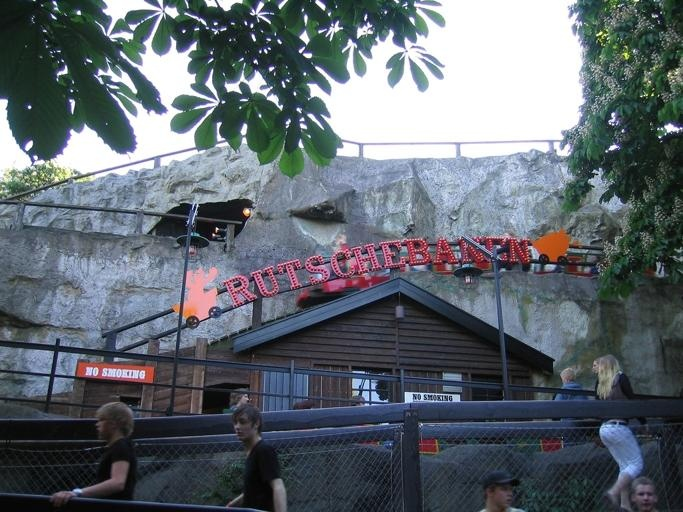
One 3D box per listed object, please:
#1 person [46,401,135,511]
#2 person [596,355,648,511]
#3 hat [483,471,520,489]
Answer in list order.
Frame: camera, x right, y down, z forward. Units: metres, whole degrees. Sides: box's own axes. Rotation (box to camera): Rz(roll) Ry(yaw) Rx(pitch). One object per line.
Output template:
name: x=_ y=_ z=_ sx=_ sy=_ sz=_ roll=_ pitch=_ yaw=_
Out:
person: x=-2.036 y=1.704 z=5.333 sx=0.815 sy=1.034 sz=0.760 roll=1 pitch=-52 yaw=-20
person: x=3.279 y=1.992 z=7.280 sx=0.475 sy=1.746 sz=1.261 roll=-7 pitch=-19 yaw=24
hat: x=1.463 y=2.079 z=5.774 sx=0.258 sy=0.090 sz=0.172 roll=-5 pitch=-15 yaw=17
